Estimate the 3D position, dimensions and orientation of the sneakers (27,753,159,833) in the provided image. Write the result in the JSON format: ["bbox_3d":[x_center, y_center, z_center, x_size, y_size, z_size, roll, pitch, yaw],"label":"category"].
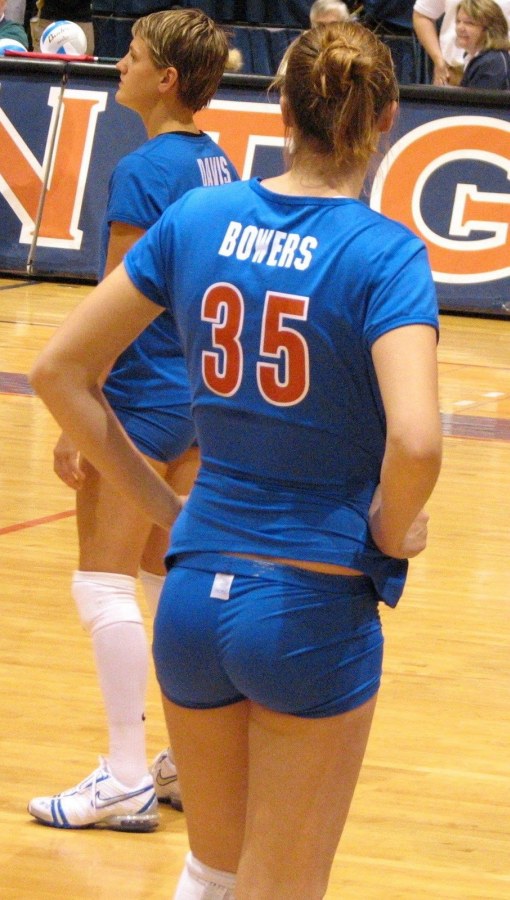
[{"bbox_3d":[-0.369,0.727,1.708,0.305,0.169,0.123,2,-9,6],"label":"sneakers"}]
